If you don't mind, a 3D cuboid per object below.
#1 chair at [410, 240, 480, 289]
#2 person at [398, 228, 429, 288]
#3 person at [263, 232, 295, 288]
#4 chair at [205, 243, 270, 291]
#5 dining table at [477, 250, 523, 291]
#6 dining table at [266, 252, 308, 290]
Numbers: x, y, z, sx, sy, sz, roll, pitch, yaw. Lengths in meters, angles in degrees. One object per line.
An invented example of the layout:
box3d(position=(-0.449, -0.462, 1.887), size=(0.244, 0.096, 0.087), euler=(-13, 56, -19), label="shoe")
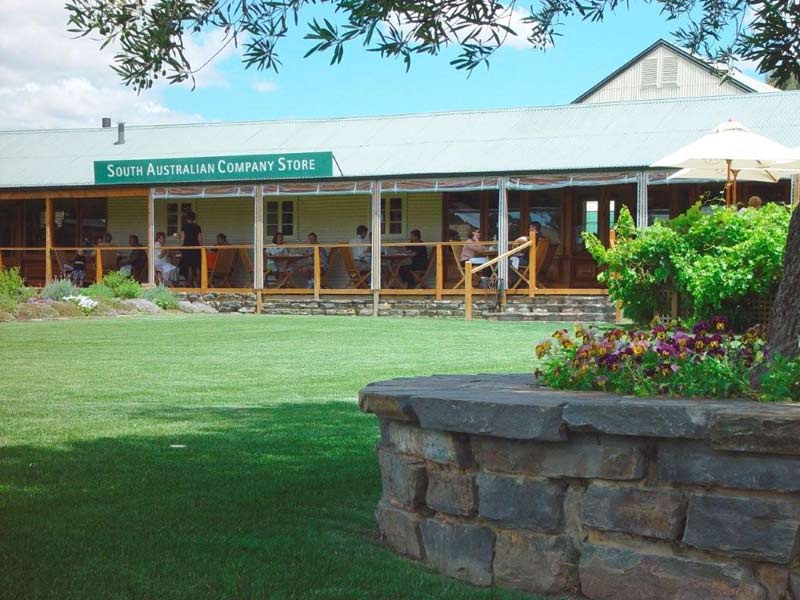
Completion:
box3d(position=(1.179, -0.813, 22.936), size=(1.013, 1.419, 1.089), euler=(-1, -3, 29), label="chair")
box3d(position=(0.336, -0.742, 22.494), size=(0.672, 0.961, 0.986), euler=(-1, 7, 0), label="person")
box3d(position=(-2.927, -0.897, 23.395), size=(0.862, 1.409, 1.358), euler=(-2, 1, 9), label="person")
box3d(position=(-4.235, -0.827, 24.301), size=(1.467, 1.668, 0.931), euler=(2, 3, 43), label="chair")
box3d(position=(2.138, -0.639, 21.012), size=(1.135, 0.781, 2.025), euler=(-1, 7, 5), label="dining table")
box3d(position=(-2.714, -0.726, 23.428), size=(0.757, 0.731, 1.458), euler=(-1, 4, -1), label="dining table")
